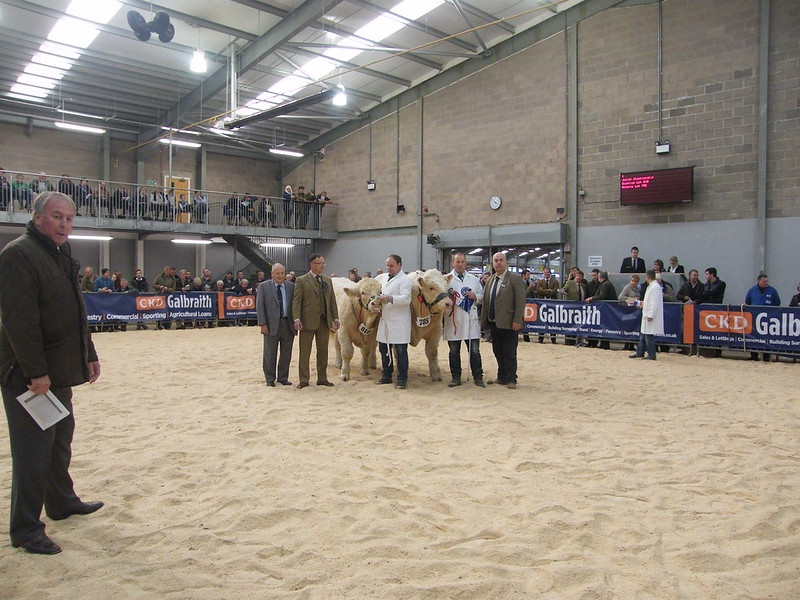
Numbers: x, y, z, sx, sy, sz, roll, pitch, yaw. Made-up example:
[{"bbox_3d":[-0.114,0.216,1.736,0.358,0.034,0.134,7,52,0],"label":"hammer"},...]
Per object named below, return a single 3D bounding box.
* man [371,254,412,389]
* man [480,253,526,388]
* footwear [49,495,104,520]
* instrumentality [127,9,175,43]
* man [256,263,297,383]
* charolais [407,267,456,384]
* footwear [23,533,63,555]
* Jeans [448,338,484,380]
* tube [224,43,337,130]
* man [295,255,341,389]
[{"bbox_3d":[-0.101,0.352,11.952,0.588,2.136,0.953,-1,2,0],"label":"man"},{"bbox_3d":[1.656,0.331,12.031,0.578,2.188,0.757,-2,3,-19],"label":"man"},{"bbox_3d":[-3.616,2.319,8.290,0.577,0.275,0.201,-9,12,-32],"label":"footwear"},{"bbox_3d":[-5.320,-5.841,15.684,0.893,0.607,0.649,-2,2,-15],"label":"instrumentality"},{"bbox_3d":[-2.006,0.416,11.980,0.583,1.972,0.591,-1,3,-8],"label":"man"},{"bbox_3d":[0.488,0.448,11.991,0.609,1.853,1.027,-1,2,-4],"label":"charolais"},{"bbox_3d":[-3.779,2.595,7.777,0.418,0.175,0.173,4,-6,16],"label":"footwear"},{"bbox_3d":[1.067,0.982,12.244,0.515,0.295,0.973,-5,47,2],"label":"Jeans"},{"bbox_3d":[-2.945,-4.721,18.270,3.075,0.459,0.438,-14,-43,9],"label":"tube"},{"bbox_3d":[-1.386,0.349,11.963,0.851,2.130,0.616,-2,3,-26],"label":"man"}]
